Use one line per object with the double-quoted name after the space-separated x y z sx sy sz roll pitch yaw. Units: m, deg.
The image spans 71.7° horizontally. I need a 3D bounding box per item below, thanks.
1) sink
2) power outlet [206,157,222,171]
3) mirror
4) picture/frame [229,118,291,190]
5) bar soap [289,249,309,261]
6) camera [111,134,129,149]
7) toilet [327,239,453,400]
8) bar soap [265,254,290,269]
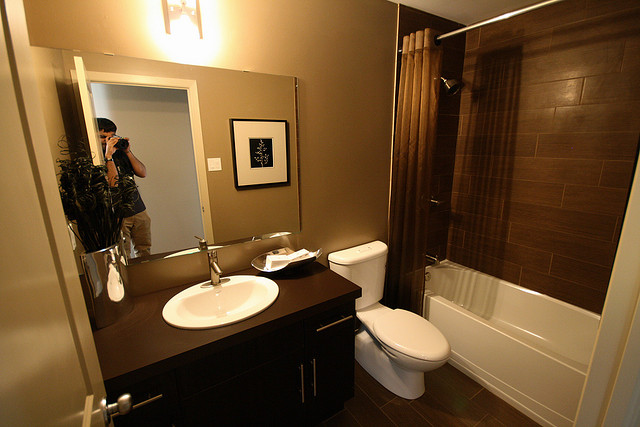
-0.584 0.553 2.664 0.689 0.197 0.427 -9 15 -21 "sink"
-0.674 -0.313 2.796 0.087 0.081 0.008 -8 19 -33 "power outlet"
-0.924 -0.335 2.557 1.436 1.018 0.111 -9 17 -25 "mirror"
-0.413 -0.404 2.923 0.444 0.459 0.031 -9 17 -30 "picture/frame"
-0.141 0.283 2.982 0.093 0.031 0.070 -10 23 -21 "bar soap"
-1.144 -0.409 2.537 0.067 0.042 0.071 -11 24 -39 "camera"
0.521 0.800 3.240 0.540 0.951 0.941 -15 26 -32 "toilet"
-0.279 0.316 2.918 0.144 0.057 0.079 -11 29 -14 "bar soap"
